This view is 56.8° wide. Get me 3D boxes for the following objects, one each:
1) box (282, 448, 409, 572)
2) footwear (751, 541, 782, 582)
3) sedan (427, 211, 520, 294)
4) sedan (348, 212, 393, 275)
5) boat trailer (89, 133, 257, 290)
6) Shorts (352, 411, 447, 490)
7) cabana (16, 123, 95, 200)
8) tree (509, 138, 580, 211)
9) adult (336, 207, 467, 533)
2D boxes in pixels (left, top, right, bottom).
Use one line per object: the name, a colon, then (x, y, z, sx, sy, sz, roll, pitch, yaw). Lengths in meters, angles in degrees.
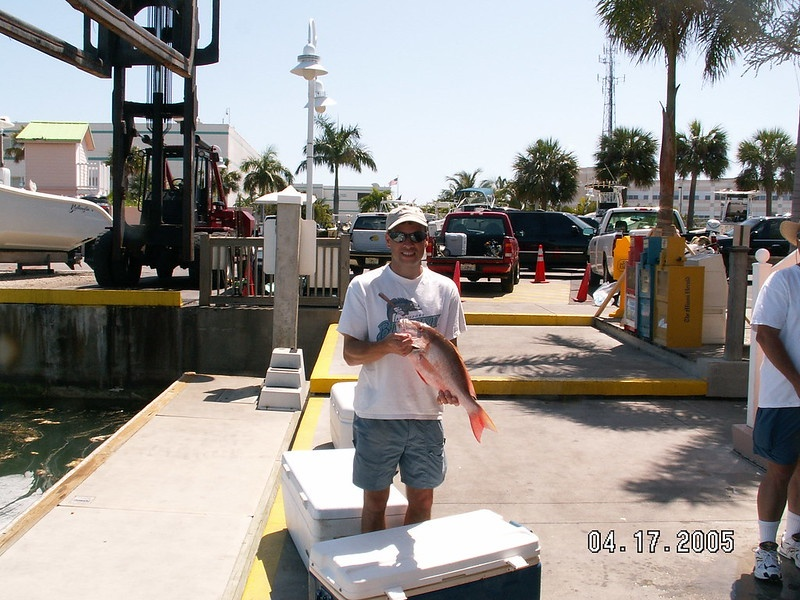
box: (-0.405, 1.188, 4.952, 0.622, 0.504, 1.002, 2, 0, -18)
footwear: (2.361, 1.704, 4.760, 0.116, 0.141, 0.304, -2, -7, 17)
sedan: (1.715, -1.238, 17.024, 1.317, 1.195, 2.610, 2, 11, 10)
sedan: (-0.853, -1.630, 21.097, 1.167, 1.218, 2.464, 0, 11, -1)
boat trailer: (-5.135, -1.814, 16.815, 3.210, 3.522, 5.681, -5, 4, 2)
Shorts: (-0.043, 0.907, 4.566, 0.662, 0.643, 0.392, 0, 1, -9)
cabana: (-25.447, -10.229, 55.697, 5.030, 6.244, 4.272, -1, 6, -7)
tree: (10.348, -8.591, 53.083, 4.089, 5.453, 4.631, 1, 8, 7)
adult: (0.035, 0.594, 4.397, 0.786, 2.241, 0.765, 1, -1, -21)
